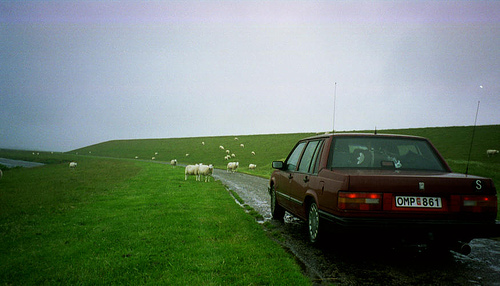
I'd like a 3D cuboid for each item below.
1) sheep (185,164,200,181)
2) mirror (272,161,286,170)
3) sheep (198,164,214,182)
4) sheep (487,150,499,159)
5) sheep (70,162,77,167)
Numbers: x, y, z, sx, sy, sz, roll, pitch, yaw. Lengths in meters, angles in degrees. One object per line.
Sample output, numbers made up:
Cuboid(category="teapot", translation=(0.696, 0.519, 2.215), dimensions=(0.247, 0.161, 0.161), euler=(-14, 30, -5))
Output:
Cuboid(category="sheep", translation=(-5.370, 2.710, 30.314), dimensions=(1.025, 1.453, 1.938), euler=(-7, 11, -38))
Cuboid(category="mirror", translation=(1.332, 1.012, 14.867), dimensions=(0.893, 0.600, 0.119), euler=(3, -2, -29))
Cuboid(category="sheep", translation=(-4.044, 2.771, 29.467), dimensions=(1.257, 1.522, 2.702), euler=(-1, 8, -9))
Cuboid(category="sheep", translation=(32.799, 1.566, 43.796), dimensions=(1.512, 1.076, 1.313), euler=(0, 0, 9))
Cuboid(category="sheep", translation=(-26.482, 3.207, 48.752), dimensions=(0.711, 0.534, 0.709), euler=(0, 4, -7))
